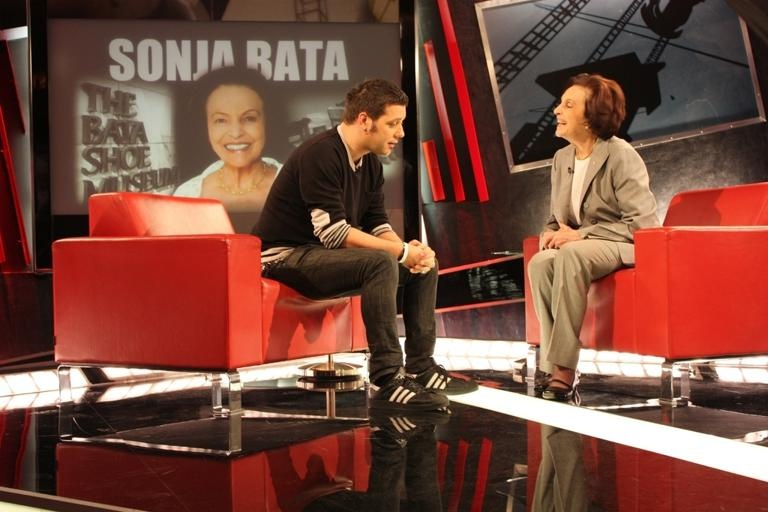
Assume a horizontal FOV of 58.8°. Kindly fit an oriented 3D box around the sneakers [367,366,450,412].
[{"bbox_3d":[0.104,0.641,3.141,0.399,0.159,0.152,-5,-12,32],"label":"sneakers"}]

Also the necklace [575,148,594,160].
[{"bbox_3d":[1.064,-0.548,3.630,0.049,0.050,0.063,5,20,12],"label":"necklace"}]

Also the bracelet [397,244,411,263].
[{"bbox_3d":[0.094,-0.012,3.228,0.035,0.071,0.064,28,-20,-33],"label":"bracelet"}]

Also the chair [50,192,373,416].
[{"bbox_3d":[-0.797,0.203,3.536,1.053,0.945,1.415,-2,-3,27],"label":"chair"}]

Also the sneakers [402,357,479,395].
[{"bbox_3d":[0.289,0.595,3.351,0.420,0.156,0.141,2,2,-5],"label":"sneakers"}]
